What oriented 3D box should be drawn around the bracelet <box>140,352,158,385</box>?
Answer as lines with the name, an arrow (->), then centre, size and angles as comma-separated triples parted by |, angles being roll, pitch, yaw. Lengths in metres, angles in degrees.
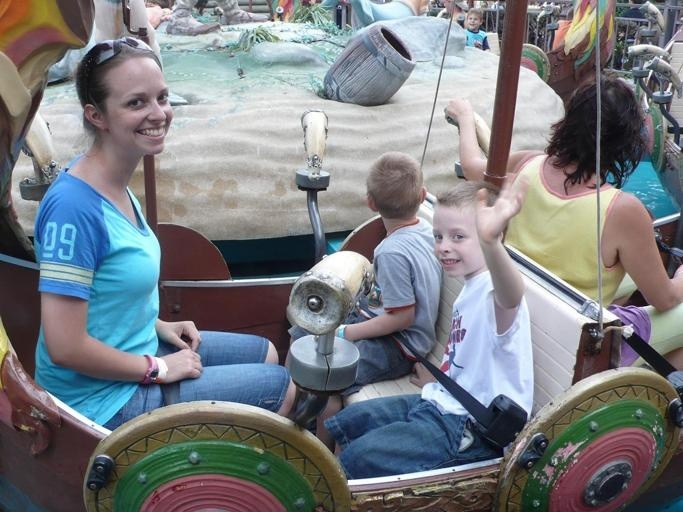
bracelet -> -0.565, 0.336, 1.756 | 0.051, 0.079, 0.086 | 5, 49, -20

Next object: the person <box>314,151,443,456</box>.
person -> 0.094, 0.261, 2.495 | 0.610, 1.303, 0.500 | 1, 11, 7

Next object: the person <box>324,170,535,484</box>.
person -> 0.299, 0.264, 1.803 | 0.654, 1.158, 0.464 | 0, 24, -1

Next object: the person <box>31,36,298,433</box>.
person -> -0.548, 0.054, 1.857 | 0.747, 1.271, 0.577 | 1, 11, -1

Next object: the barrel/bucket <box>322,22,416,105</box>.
barrel/bucket -> 0.208, -1.588, 4.930 | 0.747, 0.666, 0.388 | 20, 31, 35

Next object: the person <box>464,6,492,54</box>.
person -> 2.003, -3.295, 8.623 | 0.389, 0.580, 1.286 | 5, 26, 10
